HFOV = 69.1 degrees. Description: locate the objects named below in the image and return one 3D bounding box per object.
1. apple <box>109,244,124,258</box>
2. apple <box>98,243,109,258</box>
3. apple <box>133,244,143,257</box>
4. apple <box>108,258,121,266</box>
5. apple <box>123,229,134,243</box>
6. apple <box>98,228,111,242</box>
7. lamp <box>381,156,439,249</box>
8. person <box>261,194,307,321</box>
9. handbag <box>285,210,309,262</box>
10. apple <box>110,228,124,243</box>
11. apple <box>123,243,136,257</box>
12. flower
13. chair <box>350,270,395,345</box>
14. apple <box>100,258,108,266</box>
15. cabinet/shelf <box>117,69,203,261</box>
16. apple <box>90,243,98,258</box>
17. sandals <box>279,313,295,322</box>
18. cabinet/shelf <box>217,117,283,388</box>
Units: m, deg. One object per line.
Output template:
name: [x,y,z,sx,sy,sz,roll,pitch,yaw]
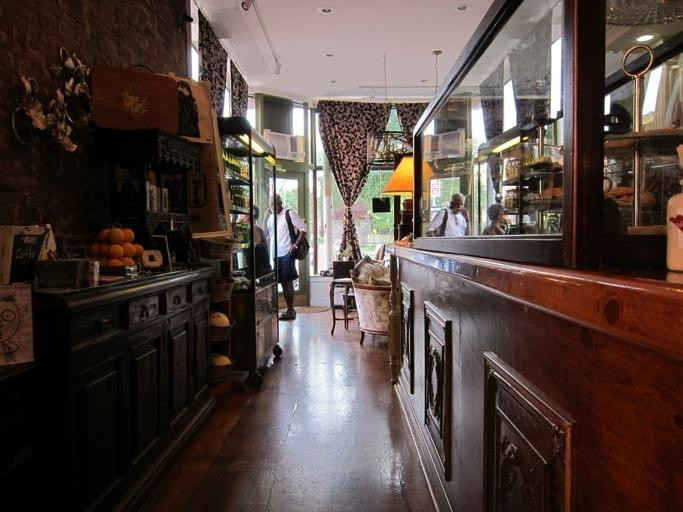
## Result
apple: [-1.125,-0.023,2.477,0.065,0.066,0.044,-2,4,-29]
apple: [-1.183,-0.023,2.466,0.048,0.069,0.054,1,5,8]
apple: [-1.073,-0.023,2.644,0.045,0.054,0.057,6,-22,24]
apple: [-1.107,0.033,2.419,0.051,0.050,0.044,8,-25,-36]
apple: [-1.123,-0.104,2.611,0.043,0.059,0.049,-11,30,17]
apple: [-1.242,-0.106,2.596,0.051,0.072,0.057,-1,-37,4]
lamp: [0.512,-0.461,3.976,0.527,0.909,0.568,2,6,26]
person: [-0.831,0.015,6.867,0.673,1.739,0.603,-1,-2,14]
handbag: [-0.642,-0.355,6.846,0.262,0.549,0.349,-15,-14,17]
apple: [-1.129,-0.104,2.521,0.057,0.082,0.062,8,7,19]
apple: [-1.089,-0.030,2.560,0.054,0.057,0.062,38,18,24]
flower: [-1.457,-0.825,2.531,0.195,0.572,0.468,0,3,-5]
chair: [0.411,0.560,5.444,0.503,0.796,0.598,-1,-1,1]
apple: [-1.159,0.032,2.427,0.037,0.038,0.037,-10,15,-39]
cabinet/shelf: [-1.244,-0.573,3.379,0.378,1.228,1.151,3,7,-6]
apple: [-1.238,-0.023,2.493,0.037,0.068,0.089,-2,4,-42]
sandals: [-0.772,0.885,7.092,0.239,0.129,0.090,2,-2,11]
cabinet/shelf: [-0.894,-0.098,4.771,0.386,2.090,1.441,-1,-1,-1]
